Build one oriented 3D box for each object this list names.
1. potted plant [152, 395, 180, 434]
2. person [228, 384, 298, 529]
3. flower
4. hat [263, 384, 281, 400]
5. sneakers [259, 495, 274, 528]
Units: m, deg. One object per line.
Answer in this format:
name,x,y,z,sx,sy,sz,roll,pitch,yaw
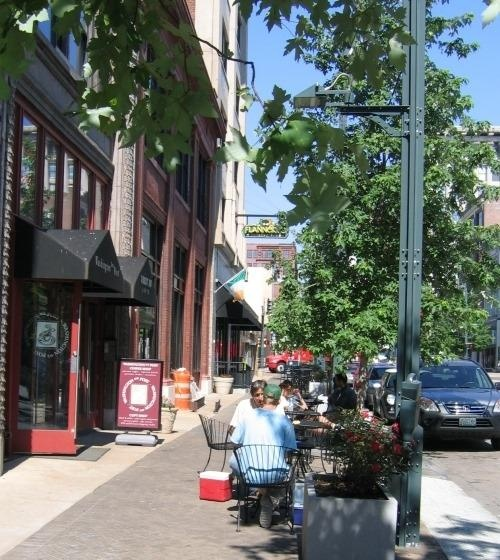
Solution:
potted plant,-1.866,3.164,14.233,0.660,0.788,0.691,-1,-2,26
person,0.146,1.842,6.440,0.681,1.427,0.536,0,-8,2
flower,0.974,1.449,5.112,0.729,0.628,0.853,-3,-10,16
hat,0.257,1.226,6.666,0.160,0.143,0.283,8,-14,10
sneakers,0.172,2.383,6.257,0.148,0.297,0.267,0,-9,2
